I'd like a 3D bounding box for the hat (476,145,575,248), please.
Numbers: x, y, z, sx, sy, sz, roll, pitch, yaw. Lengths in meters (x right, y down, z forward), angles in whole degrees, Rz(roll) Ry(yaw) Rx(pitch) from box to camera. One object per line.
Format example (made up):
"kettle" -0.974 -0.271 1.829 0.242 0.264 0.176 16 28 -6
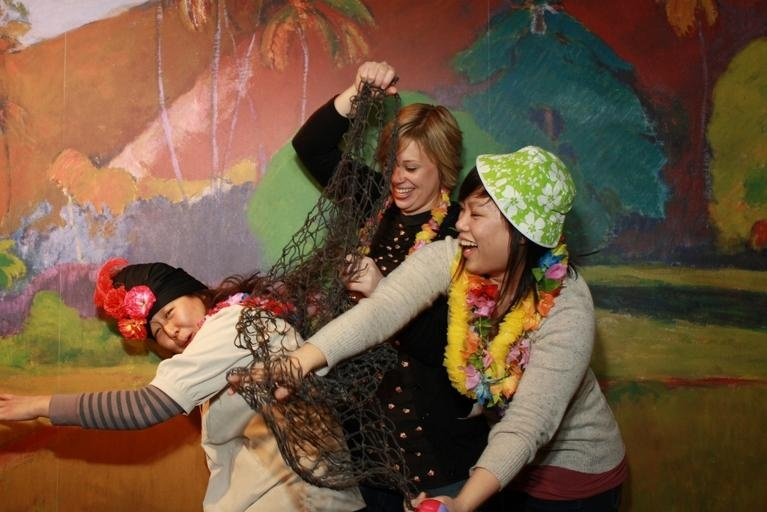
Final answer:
"hat" 0.604 -0.270 2.769 0.209 0.438 0.347 -35 12 41

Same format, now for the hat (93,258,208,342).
"hat" -1.087 0.220 3.281 0.414 0.242 0.412 -30 39 -26

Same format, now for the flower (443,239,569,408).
"flower" 0.537 0.258 2.949 0.441 0.761 0.206 8 -13 34
